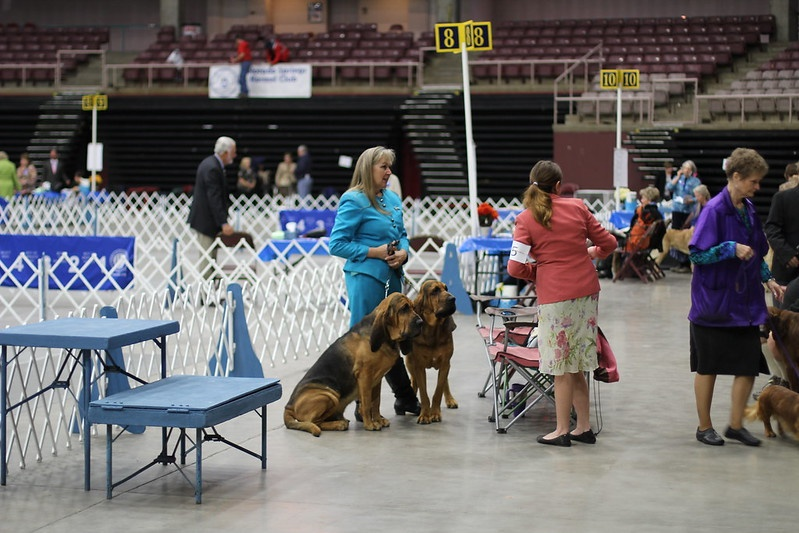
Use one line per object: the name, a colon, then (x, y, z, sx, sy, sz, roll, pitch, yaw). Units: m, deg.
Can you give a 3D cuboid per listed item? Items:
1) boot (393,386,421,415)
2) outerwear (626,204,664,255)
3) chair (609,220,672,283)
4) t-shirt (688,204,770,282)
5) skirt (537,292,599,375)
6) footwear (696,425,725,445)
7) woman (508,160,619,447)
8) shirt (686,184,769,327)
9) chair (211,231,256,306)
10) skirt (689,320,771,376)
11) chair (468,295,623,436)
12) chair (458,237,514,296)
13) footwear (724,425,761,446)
boot: (0.103, 1.891, 21.342, 0.480, 0.379, 0.170, -2, 1, -1)
outerwear: (4.400, -0.640, 28.005, 0.742, 1.084, 0.763, -1, 10, -3)
chair: (4.177, -0.239, 28.533, 1.112, 1.515, 0.823, 3, 7, 28)
t-shirt: (4.278, -0.457, 20.270, 1.186, 0.448, 0.946, -22, -20, 0)
skirt: (2.194, 0.864, 20.573, 0.918, 1.309, 0.680, 0, -5, -17)
footwear: (4.092, 2.246, 20.758, 0.179, 0.143, 0.328, -2, 2, -40)
woman: (2.154, 0.498, 20.995, 1.430, 3.786, 1.116, -3, 1, -14)
shirt: (4.397, -0.113, 20.909, 1.317, 1.863, 0.905, -4, 9, -26)
chair: (-2.778, -0.138, 26.279, 0.780, 1.518, 0.875, 0, -1, -4)
skirt: (4.383, 1.086, 20.845, 1.027, 1.072, 0.625, 4, 13, 20)
chair: (2.000, 1.416, 21.344, 1.678, 2.540, 2.001, 1, 0, 0)
chair: (1.226, 0.035, 26.202, 0.623, 0.869, 0.749, -7, -12, 26)
footwear: (4.501, 2.232, 20.813, 0.496, 0.232, 0.192, 12, 9, 7)
